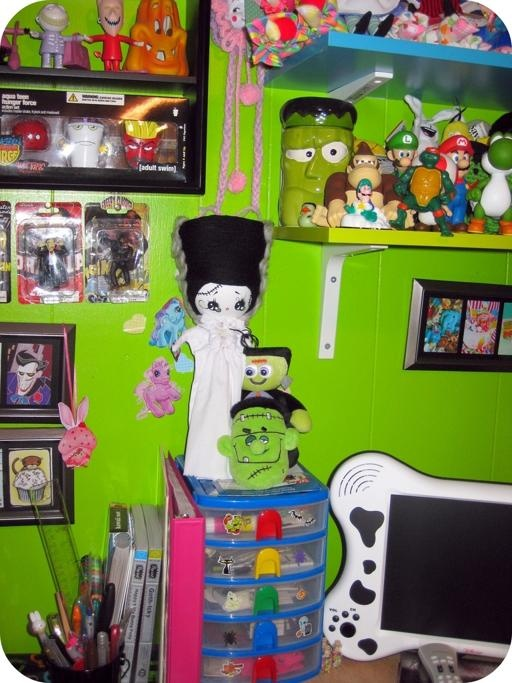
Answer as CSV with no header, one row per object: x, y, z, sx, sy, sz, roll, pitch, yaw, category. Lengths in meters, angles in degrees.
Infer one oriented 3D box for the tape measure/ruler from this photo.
-0.373,0.342,1.052,0.075,0.307,0.024,-18,-6,20,tape measure/ruler

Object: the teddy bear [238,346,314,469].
0.027,0.112,1.057,0.157,0.213,0.077,0,9,25,teddy bear

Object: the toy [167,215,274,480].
-0.085,0.002,1.041,0.200,0.415,0.218,-3,22,-20,toy
